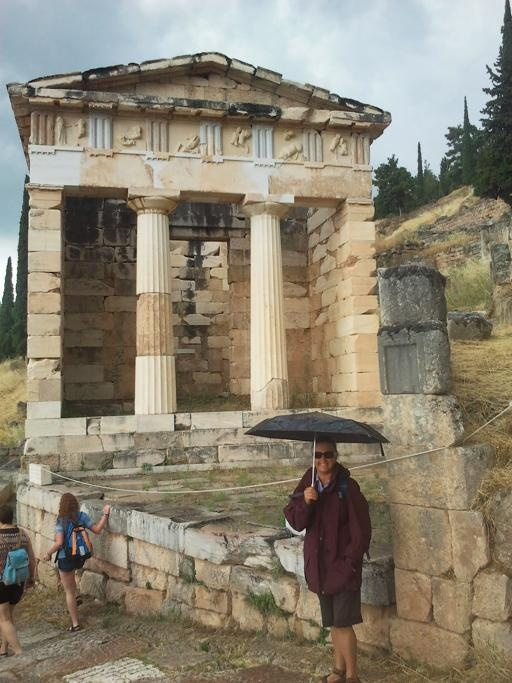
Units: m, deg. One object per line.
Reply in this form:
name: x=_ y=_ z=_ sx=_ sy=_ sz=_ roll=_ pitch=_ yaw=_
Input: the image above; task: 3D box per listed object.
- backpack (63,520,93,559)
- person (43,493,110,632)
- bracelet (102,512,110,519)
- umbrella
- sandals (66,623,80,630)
backpack: x=-1.640 y=1.811 z=6.610 sx=0.219 sy=0.402 sz=0.295 roll=-24 pitch=-26 yaw=33
person: x=-1.657 y=2.001 z=6.818 sx=0.571 sy=1.195 sz=0.904 roll=-2 pitch=-4 yaw=-12
bracelet: x=-1.426 y=1.648 z=6.865 sx=0.049 sy=0.051 sz=0.052 roll=1 pitch=-1 yaw=-1
umbrella: x=0.390 y=0.797 z=5.037 sx=0.595 sy=0.336 sz=0.600 roll=11 pitch=-10 yaw=-4
sandals: x=-1.607 y=2.533 z=6.386 sx=0.111 sy=0.038 sz=0.138 roll=-2 pitch=-3 yaw=-12
